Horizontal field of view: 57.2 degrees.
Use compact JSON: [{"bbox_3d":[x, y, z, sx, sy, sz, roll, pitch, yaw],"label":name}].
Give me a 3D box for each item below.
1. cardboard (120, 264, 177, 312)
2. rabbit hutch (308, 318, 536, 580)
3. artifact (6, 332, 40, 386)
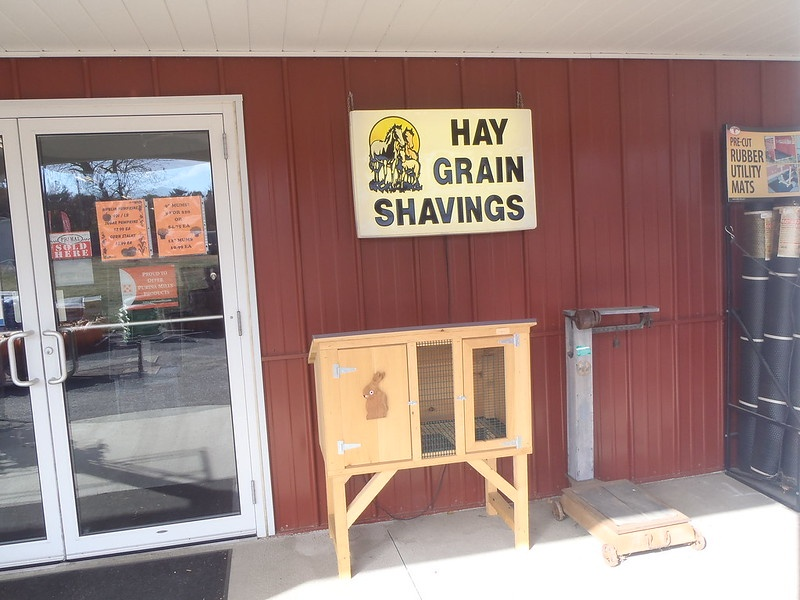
[{"bbox_3d":[-1.755,-0.094,5.062,0.314,0.274,0.045,-2,1,-11],"label":"cardboard"},{"bbox_3d":[0.120,0.995,4.924,1.596,1.695,0.781,-2,3,-14],"label":"rabbit hutch"},{"bbox_3d":[-2.567,0.412,4.981,0.171,0.390,0.084,-10,9,-26],"label":"artifact"}]
